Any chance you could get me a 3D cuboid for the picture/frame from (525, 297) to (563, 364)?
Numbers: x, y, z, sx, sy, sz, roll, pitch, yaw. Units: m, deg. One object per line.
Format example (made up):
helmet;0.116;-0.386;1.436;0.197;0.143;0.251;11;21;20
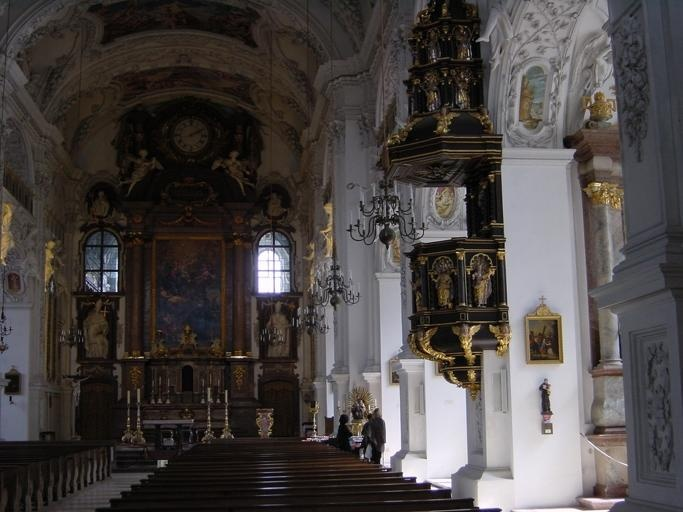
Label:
picture/frame;3.035;1.143;17.318;0.423;0.977;0.149;2;-6;-8
